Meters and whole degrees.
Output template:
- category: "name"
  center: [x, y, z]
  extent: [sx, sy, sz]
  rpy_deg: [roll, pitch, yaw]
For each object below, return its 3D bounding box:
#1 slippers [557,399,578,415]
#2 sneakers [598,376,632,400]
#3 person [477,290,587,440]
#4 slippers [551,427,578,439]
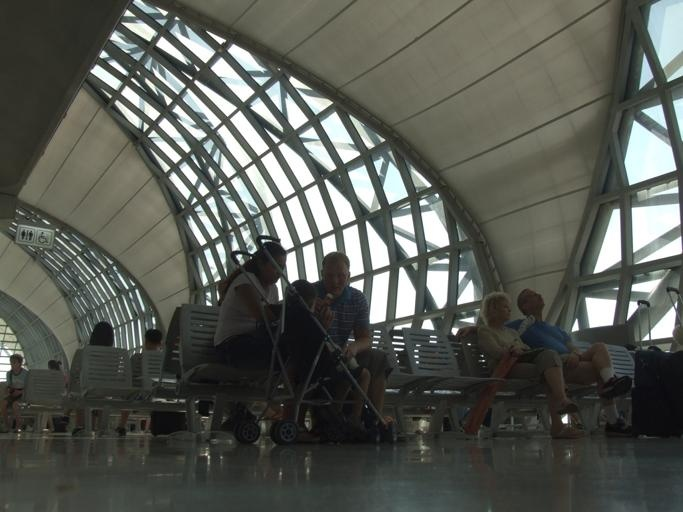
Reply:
- category: "slippers"
  center: [2.030, 1.361, 4.750]
  extent: [0.101, 0.112, 0.225]
  rpy_deg: [-1, -25, -7]
- category: "sneakers"
  center: [2.672, 1.259, 5.132]
  extent: [0.274, 0.218, 0.501]
  rpy_deg: [-9, -21, 19]
- category: "person"
  center: [1.818, 1.034, 5.333]
  extent: [0.620, 1.539, 1.147]
  rpy_deg: [0, -19, -5]
- category: "slippers"
  center: [2.003, 1.547, 4.671]
  extent: [0.244, 0.116, 0.145]
  rpy_deg: [-8, -20, 16]
